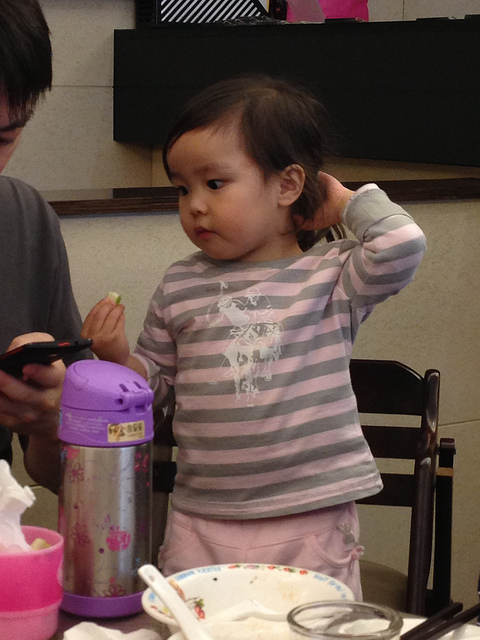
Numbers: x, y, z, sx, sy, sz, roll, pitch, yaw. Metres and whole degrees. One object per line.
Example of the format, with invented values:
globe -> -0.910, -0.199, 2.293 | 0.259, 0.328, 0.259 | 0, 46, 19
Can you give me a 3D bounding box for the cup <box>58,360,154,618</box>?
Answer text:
cup -> -0.124, 0.163, 0.680 | 0.103, 0.207, 0.104 | 1, -3, 0
